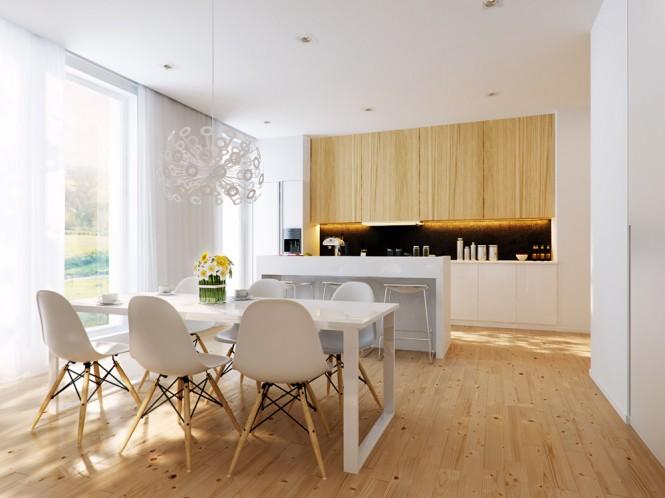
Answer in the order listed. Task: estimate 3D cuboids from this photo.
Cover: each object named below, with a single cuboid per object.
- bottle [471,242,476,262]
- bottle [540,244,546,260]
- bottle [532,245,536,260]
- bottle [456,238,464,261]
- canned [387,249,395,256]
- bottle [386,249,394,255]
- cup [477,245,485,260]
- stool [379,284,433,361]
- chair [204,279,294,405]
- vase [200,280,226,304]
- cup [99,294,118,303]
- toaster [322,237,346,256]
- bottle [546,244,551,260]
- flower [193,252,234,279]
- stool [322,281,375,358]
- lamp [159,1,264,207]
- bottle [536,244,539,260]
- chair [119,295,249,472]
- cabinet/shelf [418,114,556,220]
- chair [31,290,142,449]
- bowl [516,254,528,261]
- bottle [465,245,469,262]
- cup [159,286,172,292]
[{"bbox_3d":[2.218,0.030,7.178,0.082,0.252,0.285,2,7,17],"label":"bottle"},{"bbox_3d":[3.160,0.040,6.880,0.066,0.212,0.165,3,7,21],"label":"bottle"},{"bbox_3d":[3.066,0.046,6.932,0.074,0.211,0.141,3,7,23],"label":"bottle"},{"bbox_3d":[2.022,-0.005,7.251,0.113,0.316,0.280,2,7,14],"label":"bottle"},{"bbox_3d":[0.954,0.052,7.615,0.101,0.125,0.104,-2,-4,35],"label":"canned"},{"bbox_3d":[0.956,0.050,7.615,0.095,0.123,0.103,1,0,0],"label":"bottle"},{"bbox_3d":[2.309,0.051,7.084,0.138,0.221,0.383,3,7,19],"label":"cup"},{"bbox_3d":[0.865,0.807,5.365,0.554,0.962,0.358,0,17,12],"label":"stool"},{"bbox_3d":[-0.757,0.731,4.251,0.773,1.409,0.949,0,-5,10],"label":"chair"},{"bbox_3d":[-0.967,0.339,3.738,0.169,0.253,0.184,0,-3,19],"label":"vase"},{"bbox_3d":[-1.809,0.403,3.697,0.098,0.056,0.086,-1,-1,6],"label":"cup"},{"bbox_3d":[0.029,-0.063,7.102,0.312,0.523,0.393,-1,2,-9],"label":"toaster"},{"bbox_3d":[3.236,0.045,6.863,0.075,0.209,0.164,4,7,26],"label":"bottle"},{"bbox_3d":[-0.987,0.139,3.752,0.236,0.185,0.243,7,-2,-26],"label":"flower"},{"bbox_3d":[0.120,0.554,3.838,0.442,0.535,0.541,-1,-7,21],"label":"stool"},{"bbox_3d":[-1.498,-1.463,5.793,1.184,1.818,4.090,-1,6,-9],"label":"lamp"},{"bbox_3d":[3.121,0.045,6.938,0.038,0.213,0.087,3,7,19],"label":"bottle"},{"bbox_3d":[-1.094,0.870,3.317,0.596,1.155,0.747,1,1,15],"label":"chair"},{"bbox_3d":[2.372,-1.234,6.781,1.270,1.215,0.443,0,0,23],"label":"cabinet/shelf"},{"bbox_3d":[-1.874,0.860,3.540,0.550,1.076,0.666,3,2,12],"label":"chair"},{"bbox_3d":[2.854,0.124,6.888,0.107,0.070,0.111,-1,-3,0],"label":"bowl"},{"bbox_3d":[2.110,0.059,7.181,0.083,0.193,0.266,3,7,20],"label":"bottle"},{"bbox_3d":[-1.572,0.375,4.280,0.067,0.048,0.067,0,-1,0],"label":"cup"}]
